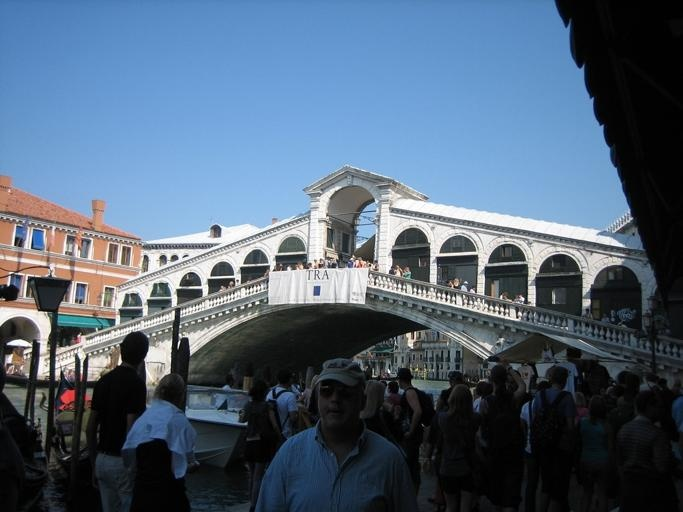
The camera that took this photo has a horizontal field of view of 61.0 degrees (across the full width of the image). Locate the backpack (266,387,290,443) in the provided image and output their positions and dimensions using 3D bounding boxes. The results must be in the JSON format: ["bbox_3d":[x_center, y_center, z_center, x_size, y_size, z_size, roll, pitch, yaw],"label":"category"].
[{"bbox_3d":[-1.065,2.633,9.669,0.325,0.819,0.735,1,-13,-6],"label":"backpack"}]

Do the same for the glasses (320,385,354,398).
[{"bbox_3d":[-0.030,0.886,3.770,0.211,0.073,0.061,-1,-13,1],"label":"glasses"}]

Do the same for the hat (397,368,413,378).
[{"bbox_3d":[0.970,1.770,8.768,0.201,0.095,0.269,1,-10,-4],"label":"hat"}]

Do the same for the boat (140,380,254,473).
[{"bbox_3d":[-4.203,5.190,18.220,1.921,1.550,4.363,4,-11,-21],"label":"boat"}]

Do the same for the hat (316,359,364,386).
[{"bbox_3d":[-0.003,0.773,3.844,0.312,0.181,0.222,0,-12,-3],"label":"hat"}]
